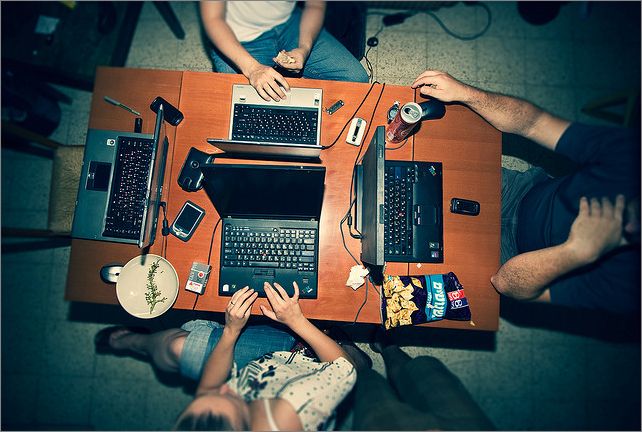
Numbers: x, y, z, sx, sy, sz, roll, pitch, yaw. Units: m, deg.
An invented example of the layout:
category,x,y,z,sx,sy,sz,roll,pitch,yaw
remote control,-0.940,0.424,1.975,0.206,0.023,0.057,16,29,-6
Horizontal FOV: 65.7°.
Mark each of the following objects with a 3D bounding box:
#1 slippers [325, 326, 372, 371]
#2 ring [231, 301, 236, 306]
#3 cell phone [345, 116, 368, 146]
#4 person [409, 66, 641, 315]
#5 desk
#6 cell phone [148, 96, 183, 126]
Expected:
category,x,y,z,sx,sy,sz,roll,pitch,yaw
slippers,0.242,1.100,4.171,0.385,0.305,0.141,49,118,40
ring,-0.658,0.647,3.675,0.020,0.027,0.018,4,109,-11
cell phone,0.269,-0.652,3.789,0.127,0.050,0.215,16,86,2
person,1.568,-0.116,3.861,1.538,1.878,1.068,12,109,10
desk,-0.248,-0.125,3.765,3.829,0.905,2.107,2,90,-2
cell phone,-1.193,-0.802,3.826,0.280,0.066,0.159,39,75,-8
